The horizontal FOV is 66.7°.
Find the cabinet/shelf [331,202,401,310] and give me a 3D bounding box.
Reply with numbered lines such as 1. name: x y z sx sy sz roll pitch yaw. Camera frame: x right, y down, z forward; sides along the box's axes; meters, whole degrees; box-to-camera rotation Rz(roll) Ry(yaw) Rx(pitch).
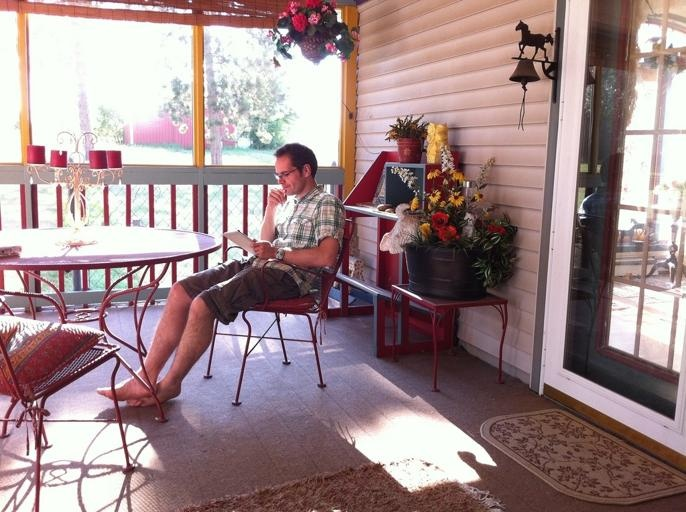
1. cabinet/shelf: 0.197 0.020 4.386 0.658 0.806 0.856 -2 13 -19

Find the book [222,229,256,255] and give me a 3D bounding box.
1. book: -0.646 -0.092 3.269 0.176 0.157 0.280 -2 14 -10

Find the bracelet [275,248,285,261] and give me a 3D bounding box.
1. bracelet: -0.392 -0.009 3.265 0.020 0.062 0.059 17 -17 -42

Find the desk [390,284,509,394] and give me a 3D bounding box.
1. desk: 0.755 0.579 3.889 0.542 0.596 0.919 -2 4 -12

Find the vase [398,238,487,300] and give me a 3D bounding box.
1. vase: 0.768 0.095 3.724 0.648 0.358 0.675 2 -1 -2

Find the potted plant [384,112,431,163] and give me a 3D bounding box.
1. potted plant: 0.545 -0.967 4.347 0.332 0.359 0.290 -2 1 -21
